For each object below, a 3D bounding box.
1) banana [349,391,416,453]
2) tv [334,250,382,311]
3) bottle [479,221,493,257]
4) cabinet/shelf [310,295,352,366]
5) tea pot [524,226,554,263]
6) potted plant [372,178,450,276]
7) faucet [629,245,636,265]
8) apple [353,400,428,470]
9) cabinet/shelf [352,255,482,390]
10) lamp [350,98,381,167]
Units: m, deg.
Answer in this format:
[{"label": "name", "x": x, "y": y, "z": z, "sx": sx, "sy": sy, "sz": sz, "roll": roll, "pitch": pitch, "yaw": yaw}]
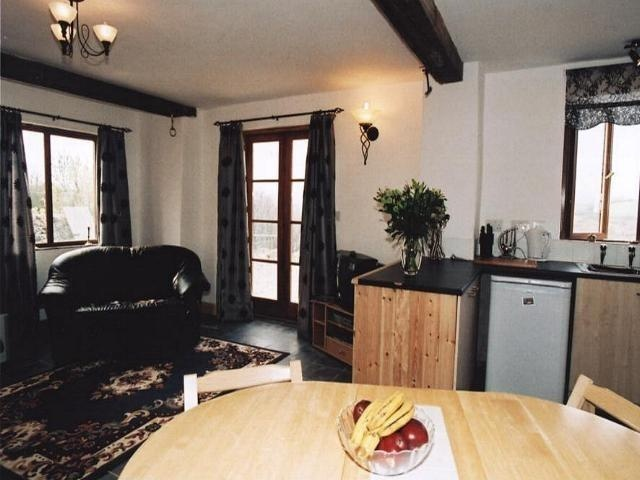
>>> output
[{"label": "banana", "x": 0.235, "y": 0.710, "z": 1.745, "sx": 0.156, "sy": 0.087, "sz": 0.253, "roll": 41, "pitch": 56, "yaw": 18}, {"label": "tv", "x": 0.335, "y": 0.373, "z": 4.025, "sx": 0.286, "sy": 0.543, "sz": 0.527, "roll": -1, "pitch": 6, "yaw": -35}, {"label": "bottle", "x": 1.556, "y": 0.021, "z": 4.198, "sx": 0.120, "sy": 0.292, "sz": 0.222, "roll": 4, "pitch": 10, "yaw": 19}, {"label": "cabinet/shelf", "x": 0.131, "y": 0.944, "z": 4.629, "sx": 0.179, "sy": 0.529, "sz": 0.704, "roll": -5, "pitch": 11, "yaw": -29}, {"label": "tea pot", "x": 2.056, "y": 0.041, "z": 4.254, "sx": 0.192, "sy": 0.349, "sz": 0.280, "roll": 3, "pitch": -2, "yaw": -38}, {"label": "potted plant", "x": 0.757, "y": -0.069, "z": 3.488, "sx": 0.482, "sy": 0.711, "sz": 0.594, "roll": 8, "pitch": -10, "yaw": -13}, {"label": "faucet", "x": 2.652, "y": 0.128, "z": 3.804, "sx": 0.041, "sy": 0.162, "sz": 0.059, "roll": 0, "pitch": 9, "yaw": 11}, {"label": "apple", "x": 0.313, "y": 0.759, "z": 1.745, "sx": 0.206, "sy": 0.134, "sz": 0.235, "roll": 0, "pitch": 6, "yaw": -7}, {"label": "cabinet/shelf", "x": 0.792, "y": 0.629, "z": 3.744, "sx": 0.890, "sy": 1.522, "sz": 0.848, "roll": 3, "pitch": 4, "yaw": 27}, {"label": "lamp", "x": 0.497, "y": -1.140, "z": 4.781, "sx": 0.246, "sy": 0.672, "sz": 0.401, "roll": 3, "pitch": 10, "yaw": 12}]
